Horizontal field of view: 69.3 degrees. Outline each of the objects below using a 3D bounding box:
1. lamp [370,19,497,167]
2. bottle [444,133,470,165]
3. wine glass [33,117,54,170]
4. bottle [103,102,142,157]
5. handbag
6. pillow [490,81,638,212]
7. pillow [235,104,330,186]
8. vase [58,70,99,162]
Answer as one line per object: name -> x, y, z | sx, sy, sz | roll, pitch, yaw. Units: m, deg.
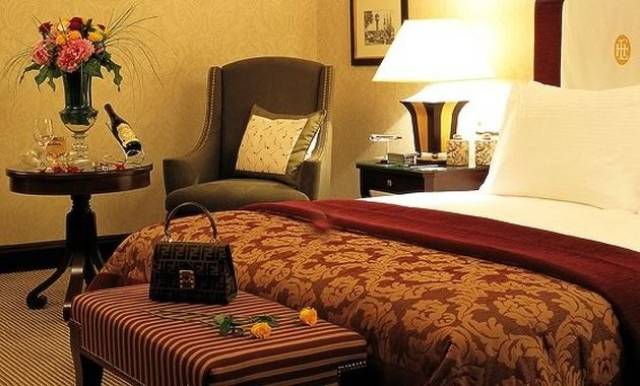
lamp -> 0.917, -0.789, 4.041 | 1.257, 1.138, 1.115 | 2, 7, 11
bottle -> 0.998, -0.305, 3.354 | 0.201, 0.262, 0.192 | 0, 0, 0
wine glass -> -1.916, -0.343, 3.222 | 0.111, 0.328, 0.251 | -9, 15, -30
bottle -> -1.427, -0.452, 3.364 | 0.137, 0.357, 0.420 | -9, 15, -32
handbag -> -0.523, 0.259, 1.972 | 0.408, 0.409, 0.216 | -1, -10, 5
pillow -> 1.294, -0.220, 2.436 | 0.757, 0.479, 0.263 | 6, -22, 46
pillow -> -0.301, -0.414, 3.931 | 0.706, 0.661, 0.210 | 12, -12, 32
vase -> -1.761, -0.555, 3.379 | 0.235, 0.640, 0.593 | -8, 14, -26
